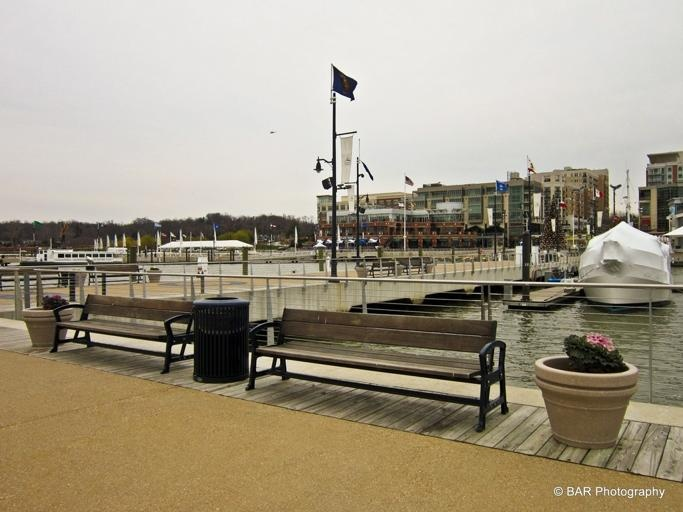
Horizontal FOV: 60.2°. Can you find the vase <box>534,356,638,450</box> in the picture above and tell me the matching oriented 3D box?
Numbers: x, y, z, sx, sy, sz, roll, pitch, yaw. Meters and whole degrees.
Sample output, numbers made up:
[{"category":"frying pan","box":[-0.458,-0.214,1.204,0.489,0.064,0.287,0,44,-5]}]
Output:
[{"category":"vase","box":[2.545,1.505,6.313,0.853,0.699,0.904,0,-3,0]}]

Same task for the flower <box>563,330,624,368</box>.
[{"category":"flower","box":[2.695,0.953,6.425,0.580,0.392,0.532,3,19,-9]}]

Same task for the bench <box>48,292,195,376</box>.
[{"category":"bench","box":[-3.739,1.268,10.018,2.974,1.110,0.878,1,-1,32]}]

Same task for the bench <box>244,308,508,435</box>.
[{"category":"bench","box":[0.330,1.341,7.596,3.461,1.187,0.935,0,-1,34]}]

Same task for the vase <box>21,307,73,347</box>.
[{"category":"vase","box":[-5.717,1.342,11.420,0.729,0.627,0.770,0,-4,-2]}]
